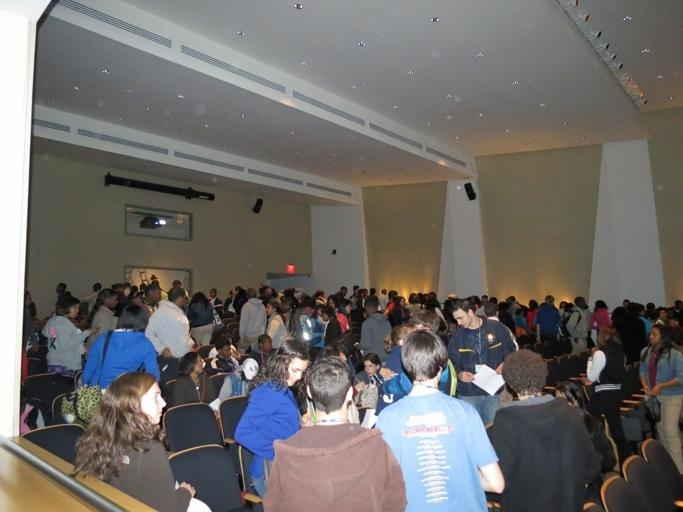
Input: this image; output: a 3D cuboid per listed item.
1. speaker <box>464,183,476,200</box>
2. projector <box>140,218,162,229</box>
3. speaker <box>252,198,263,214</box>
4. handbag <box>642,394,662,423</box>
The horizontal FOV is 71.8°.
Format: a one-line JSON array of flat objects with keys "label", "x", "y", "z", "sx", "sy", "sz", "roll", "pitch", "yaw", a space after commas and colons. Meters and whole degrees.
[{"label": "speaker", "x": 3.832, "y": -1.925, "z": 14.136, "sx": 0.315, "sy": 0.547, "sz": 0.123, "roll": -17, "pitch": -9, "yaw": 21}, {"label": "projector", "x": -5.105, "y": -0.879, "z": 12.651, "sx": 0.564, "sy": 0.326, "sz": 0.049, "roll": 3, "pitch": -5, "yaw": -45}, {"label": "speaker", "x": -2.630, "y": -1.541, "z": 14.705, "sx": 0.268, "sy": 0.502, "sz": 0.472, "roll": 8, "pitch": -22, "yaw": -30}, {"label": "handbag", "x": 3.507, "y": 1.761, "z": 5.356, "sx": 0.105, "sy": 0.327, "sz": 0.297, "roll": -3, "pitch": 2, "yaw": -7}]
